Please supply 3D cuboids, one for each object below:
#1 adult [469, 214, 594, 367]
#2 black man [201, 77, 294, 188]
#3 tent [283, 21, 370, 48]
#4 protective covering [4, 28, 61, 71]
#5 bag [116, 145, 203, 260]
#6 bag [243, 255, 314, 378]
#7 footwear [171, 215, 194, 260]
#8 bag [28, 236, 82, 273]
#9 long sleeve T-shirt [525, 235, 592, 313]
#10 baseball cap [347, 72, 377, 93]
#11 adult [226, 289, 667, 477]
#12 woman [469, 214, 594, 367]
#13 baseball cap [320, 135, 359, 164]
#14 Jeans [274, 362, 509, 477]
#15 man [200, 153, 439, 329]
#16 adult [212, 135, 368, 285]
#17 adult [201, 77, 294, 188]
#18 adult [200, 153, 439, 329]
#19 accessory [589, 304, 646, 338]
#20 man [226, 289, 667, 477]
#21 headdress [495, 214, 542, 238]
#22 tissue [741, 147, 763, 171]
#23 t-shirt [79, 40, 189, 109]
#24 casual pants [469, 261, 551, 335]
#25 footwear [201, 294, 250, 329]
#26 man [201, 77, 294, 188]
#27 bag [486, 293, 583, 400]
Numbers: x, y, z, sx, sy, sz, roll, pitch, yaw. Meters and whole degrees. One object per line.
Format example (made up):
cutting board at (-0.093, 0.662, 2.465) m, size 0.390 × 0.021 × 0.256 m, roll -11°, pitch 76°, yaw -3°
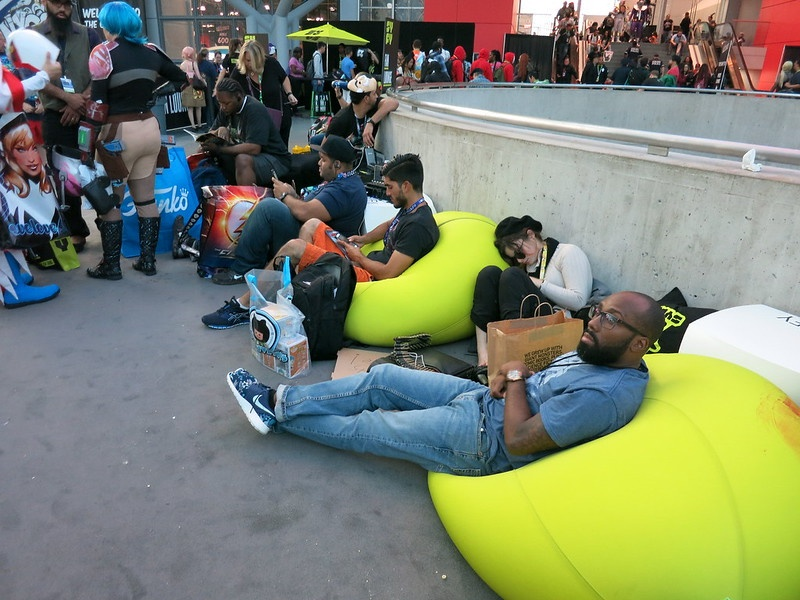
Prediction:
adult at (0.790, -0.046, 3.184) m, size 0.610 × 0.869 × 0.296 m, roll -25°, pitch 1°, yaw -30°
black man at (-1.573, -1.490, 5.259) m, size 0.914 × 1.301 × 0.894 m, roll -11°, pitch 29°, yaw -27°
tent at (-1.664, -6.224, 12.653) m, size 1.326 × 0.313 × 1.439 m, roll 2°, pitch 25°, yaw -5°
protective covering at (-2.639, -1.777, 3.885) m, size 0.251 × 0.268 × 0.332 m, roll 13°, pitch 20°, yaw 14°
bag at (-2.141, -0.825, 4.713) m, size 0.742 × 0.943 × 0.339 m, roll -25°, pitch 33°, yaw -36°
bag at (-0.728, 0.121, 3.282) m, size 0.270 × 0.687 × 0.505 m, roll -19°, pitch 29°, yaw -41°
footwear at (-2.035, -0.552, 4.941) m, size 0.187 × 0.488 × 0.141 m, roll -3°, pitch -10°, yaw 35°
bag at (-2.849, -0.367, 4.403) m, size 0.212 × 0.168 × 0.230 m, roll 24°, pitch 43°, yaw -27°
long sleeve T-shirt at (1.010, -0.167, 3.513) m, size 0.332 × 0.493 × 0.604 m, roll -1°, pitch 16°, yaw -2°
baseball cap at (-0.370, -2.270, 5.625) m, size 0.240 × 0.145 × 0.220 m, roll -10°, pitch 36°, yaw -17°
adult at (0.199, 0.365, 2.629) m, size 1.778 × 0.888 × 0.807 m, roll 7°, pitch 17°, yaw 15°
woman at (0.790, -0.046, 3.184) m, size 0.610 × 0.868 × 0.296 m, roll -25°, pitch 1°, yaw -30°
baseball cap at (-0.461, -1.136, 4.109) m, size 0.242 × 0.130 × 0.177 m, roll 23°, pitch 38°, yaw -13°
Jeans at (-0.050, 0.528, 2.544) m, size 1.082 × 0.373 × 0.448 m, roll 6°, pitch 11°, yaw 9°
man at (-0.540, -0.401, 3.758) m, size 1.656 × 1.111 × 0.745 m, roll -5°, pitch 23°, yaw -11°
adult at (-0.867, -0.711, 4.334) m, size 1.097 × 1.359 × 0.629 m, roll 7°, pitch 12°, yaw -20°
adult at (-1.575, -1.494, 5.271) m, size 0.930 × 1.276 × 0.826 m, roll -13°, pitch 30°, yaw -30°
adult at (-0.538, -0.429, 3.774) m, size 1.655 × 1.144 × 0.713 m, roll -5°, pitch 22°, yaw -8°
accessory at (0.859, 0.080, 2.117) m, size 0.135 × 0.039 × 0.134 m, roll 23°, pitch 7°, yaw -14°
man at (0.140, 0.322, 2.506) m, size 1.923 × 0.942 × 0.817 m, roll 7°, pitch 11°, yaw 7°
headdress at (0.775, -0.488, 3.534) m, size 0.186 × 0.076 × 0.193 m, roll 1°, pitch 8°, yaw 45°
tissue at (1.895, -0.752, 2.870) m, size 0.098 × 0.117 × 0.139 m, roll 17°, pitch 25°, yaw 31°
t-shirt at (-2.053, -1.744, 4.240) m, size 0.473 × 0.519 × 0.724 m, roll -4°, pitch 18°, yaw -3°
casual pants at (0.643, -0.020, 3.411) m, size 0.495 × 0.552 × 0.308 m, roll 8°, pitch 6°, yaw -1°
footwear at (-1.176, 0.083, 3.734) m, size 0.359 × 0.178 × 0.156 m, roll -11°, pitch 28°, yaw -28°
man at (-1.580, -1.494, 5.258) m, size 0.908 × 1.306 × 0.946 m, roll -5°, pitch 26°, yaw -13°
bag at (0.657, 0.231, 2.624) m, size 0.399 × 0.438 × 0.149 m, roll -9°, pitch 35°, yaw -8°
